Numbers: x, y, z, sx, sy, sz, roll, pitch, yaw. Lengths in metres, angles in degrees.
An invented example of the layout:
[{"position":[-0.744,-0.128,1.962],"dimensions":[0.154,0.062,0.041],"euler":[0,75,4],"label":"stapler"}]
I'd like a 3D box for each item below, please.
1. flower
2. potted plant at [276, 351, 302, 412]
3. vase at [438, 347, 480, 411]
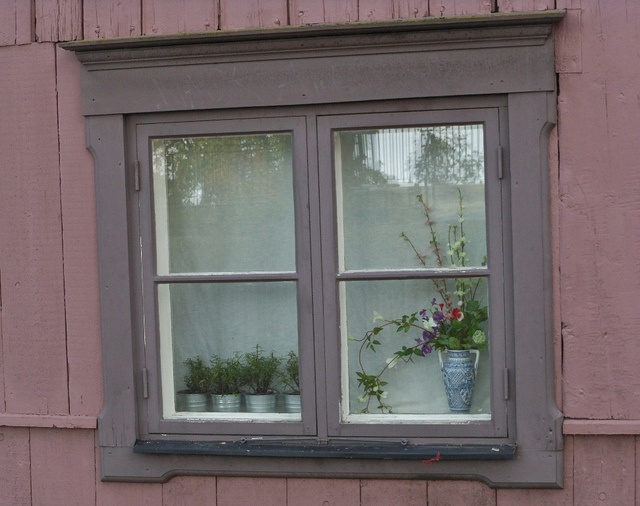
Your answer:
[{"position":[0.482,0.169,8.625],"dimensions":[0.980,1.242,0.409],"euler":[0,-1,6],"label":"flower"},{"position":[-0.148,0.669,8.703],"dimensions":[0.121,0.203,0.102],"euler":[-11,-18,3],"label":"potted plant"},{"position":[0.669,0.598,8.610],"dimensions":[0.251,0.327,0.191],"euler":[-2,-12,12],"label":"vase"}]
